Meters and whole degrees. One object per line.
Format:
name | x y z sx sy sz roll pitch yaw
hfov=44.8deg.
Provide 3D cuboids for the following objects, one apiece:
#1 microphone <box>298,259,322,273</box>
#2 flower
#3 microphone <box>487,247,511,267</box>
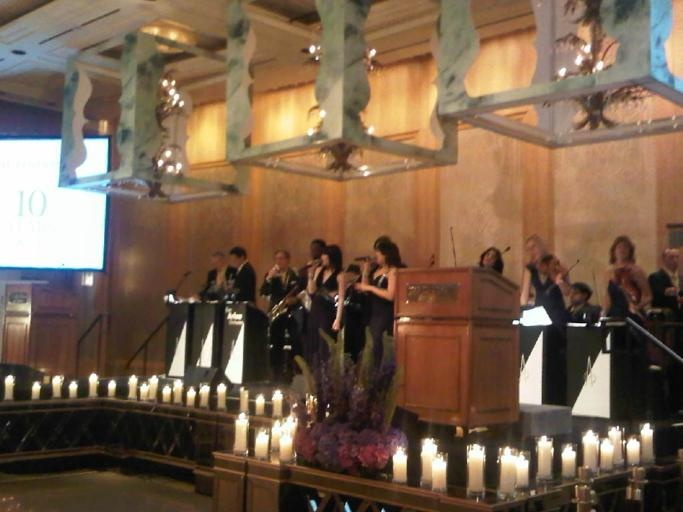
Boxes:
microphone | -0.389 0.116 10.309 0.053 0.062 0.376 0 22 30
flower | 0.103 1.014 6.116 0.981 1.238 0.862 3 -10 1
microphone | 1.803 0.013 9.518 0.221 0.302 0.347 3 0 -24
